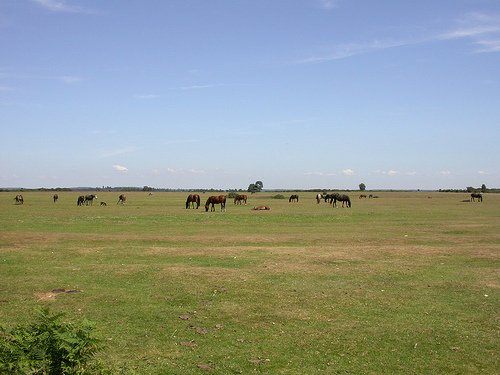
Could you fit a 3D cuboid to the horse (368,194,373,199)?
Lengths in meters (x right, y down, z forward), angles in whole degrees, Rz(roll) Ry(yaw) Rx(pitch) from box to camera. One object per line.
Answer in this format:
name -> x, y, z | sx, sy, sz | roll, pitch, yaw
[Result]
horse -> 28.571, 2.166, 108.353 | 0.989, 0.905, 0.690 | 1, 3, 9
